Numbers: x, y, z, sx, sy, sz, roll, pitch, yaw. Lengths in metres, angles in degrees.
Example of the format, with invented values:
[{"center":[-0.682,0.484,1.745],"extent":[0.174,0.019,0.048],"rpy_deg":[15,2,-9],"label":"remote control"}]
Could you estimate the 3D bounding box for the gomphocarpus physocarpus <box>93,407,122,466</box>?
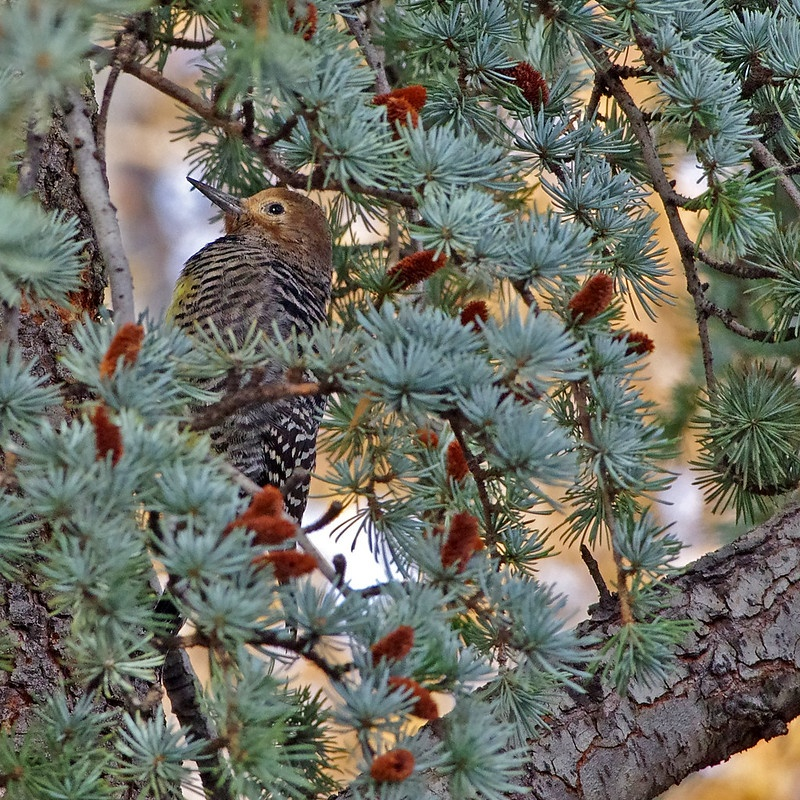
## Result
[{"center":[-0.589,0.066,3.697],"extent":[0.057,0.085,0.098],"rpy_deg":[-16,54,-6],"label":"gomphocarpus physocarpus"}]
